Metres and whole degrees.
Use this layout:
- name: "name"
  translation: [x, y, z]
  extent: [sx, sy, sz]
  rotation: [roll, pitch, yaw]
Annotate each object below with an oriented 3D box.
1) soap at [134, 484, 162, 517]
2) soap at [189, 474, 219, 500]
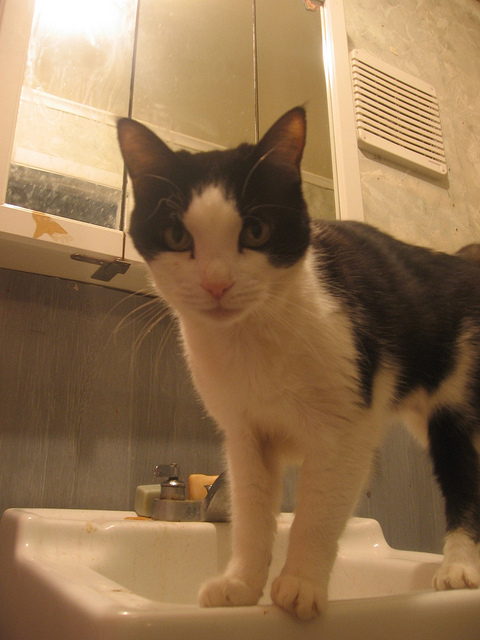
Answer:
- name: "soap"
  translation: [-0.144, 0.286, 0.912]
  extent: [0.029, 0.038, 0.056]
  rotation: [7, -7, 36]
- name: "soap"
  translation: [-0.058, 0.272, 0.959]
  extent: [0.041, 0.042, 0.016]
  rotation: [-11, -36, 16]
